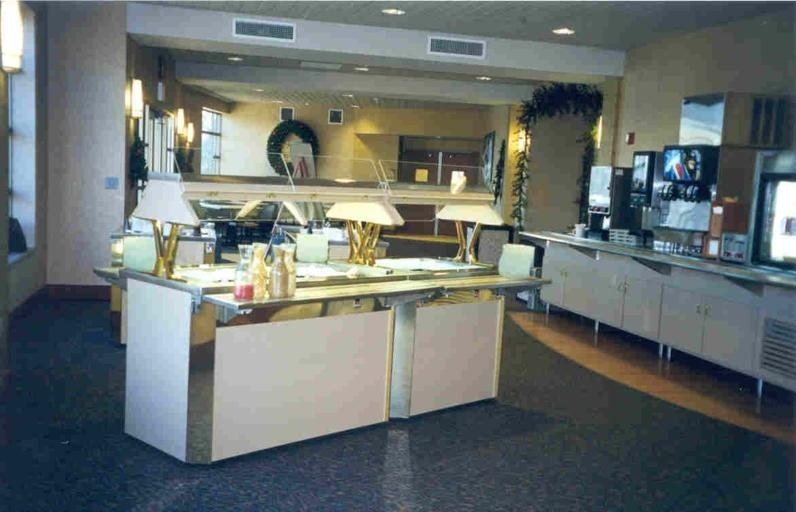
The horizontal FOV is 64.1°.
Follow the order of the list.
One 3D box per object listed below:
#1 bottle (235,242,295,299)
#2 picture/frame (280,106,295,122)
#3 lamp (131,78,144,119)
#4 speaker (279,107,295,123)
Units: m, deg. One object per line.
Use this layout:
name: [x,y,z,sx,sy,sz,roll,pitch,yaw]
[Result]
bottle: [-1.107,0.125,5.327,0.536,0.427,0.382,-2,14,-22]
picture/frame: [-2.847,-3.675,16.373,0.464,0.415,0.059,2,15,-2]
lamp: [-3.787,-2.280,9.214,0.126,0.559,0.389,1,13,-7]
speaker: [-2.871,-3.659,16.374,0.366,0.346,0.150,-1,14,-16]
